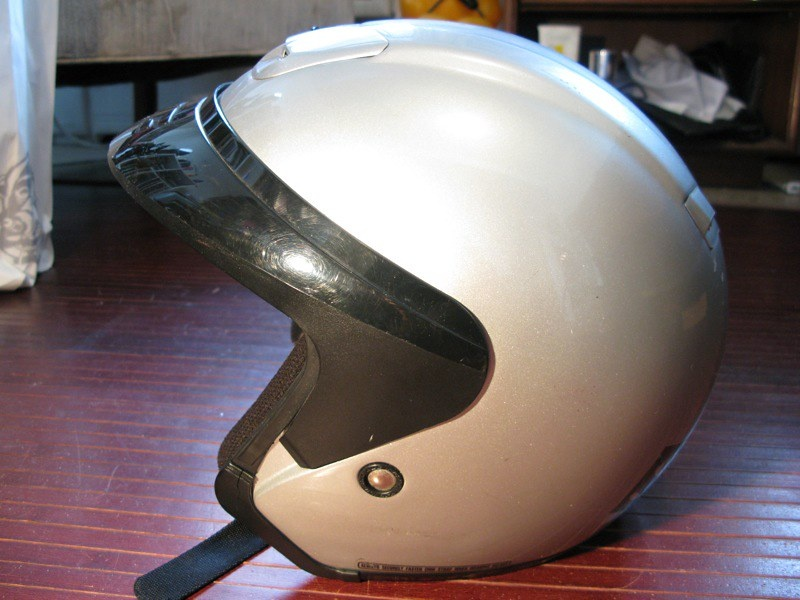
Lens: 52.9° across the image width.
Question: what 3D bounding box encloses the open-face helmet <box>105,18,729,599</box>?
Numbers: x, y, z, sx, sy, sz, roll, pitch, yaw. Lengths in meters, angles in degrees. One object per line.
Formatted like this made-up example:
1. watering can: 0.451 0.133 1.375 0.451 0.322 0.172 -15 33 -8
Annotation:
1. open-face helmet: 0.052 -0.043 1.200 0.709 0.626 0.600 4 16 1
